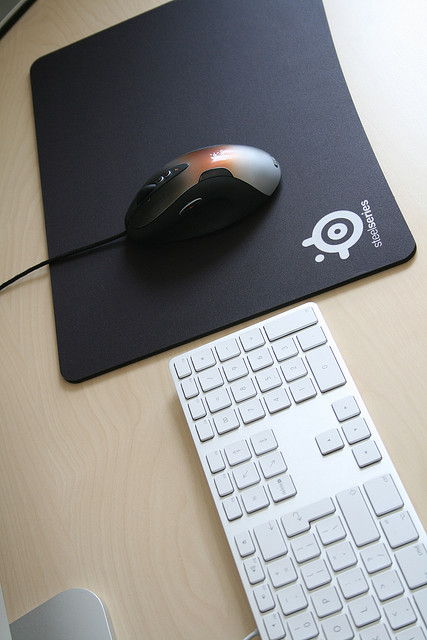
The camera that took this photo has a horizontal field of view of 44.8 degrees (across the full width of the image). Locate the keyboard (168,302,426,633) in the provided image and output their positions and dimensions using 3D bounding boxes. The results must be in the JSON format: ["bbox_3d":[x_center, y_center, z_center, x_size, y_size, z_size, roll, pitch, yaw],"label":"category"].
[{"bbox_3d":[0.057,0.107,0.384,0.132,0.115,0.236,-14,38,-10],"label":"keyboard"}]

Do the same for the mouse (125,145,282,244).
[{"bbox_3d":[-0.010,-0.121,0.511,0.161,0.081,0.048,-10,35,-5],"label":"mouse"}]
